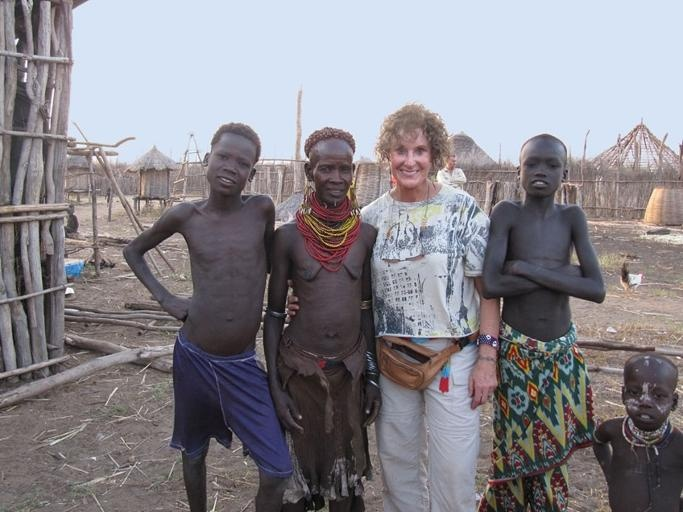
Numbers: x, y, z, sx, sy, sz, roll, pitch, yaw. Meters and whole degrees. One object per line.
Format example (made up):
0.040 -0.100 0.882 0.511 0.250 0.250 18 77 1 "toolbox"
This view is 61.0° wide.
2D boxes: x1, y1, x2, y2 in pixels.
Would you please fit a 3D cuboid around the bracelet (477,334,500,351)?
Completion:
0.861 0.498 3.425 0.114 0.077 0.122 23 -14 -23 "bracelet"

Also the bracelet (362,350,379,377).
0.168 0.654 3.556 0.109 0.217 0.162 -1 -7 1 "bracelet"

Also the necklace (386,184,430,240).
0.391 -0.260 3.605 0.294 0.412 0.219 1 -12 3 "necklace"

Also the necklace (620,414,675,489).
1.650 1.019 3.100 0.182 0.262 0.143 1 -14 6 "necklace"

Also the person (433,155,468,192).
2.366 -1.774 12.672 0.524 0.784 0.444 -3 7 2 "person"
